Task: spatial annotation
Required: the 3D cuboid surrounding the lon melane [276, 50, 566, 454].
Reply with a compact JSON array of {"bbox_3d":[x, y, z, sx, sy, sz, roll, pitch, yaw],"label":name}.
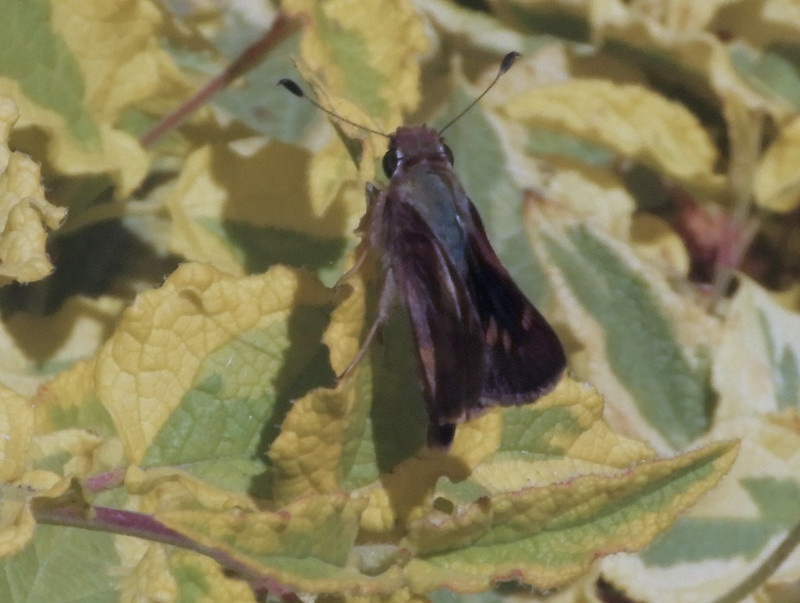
[{"bbox_3d":[-0.003,-0.029,1.434,0.230,0.320,0.166,-6,-18,-31],"label":"lon melane"}]
